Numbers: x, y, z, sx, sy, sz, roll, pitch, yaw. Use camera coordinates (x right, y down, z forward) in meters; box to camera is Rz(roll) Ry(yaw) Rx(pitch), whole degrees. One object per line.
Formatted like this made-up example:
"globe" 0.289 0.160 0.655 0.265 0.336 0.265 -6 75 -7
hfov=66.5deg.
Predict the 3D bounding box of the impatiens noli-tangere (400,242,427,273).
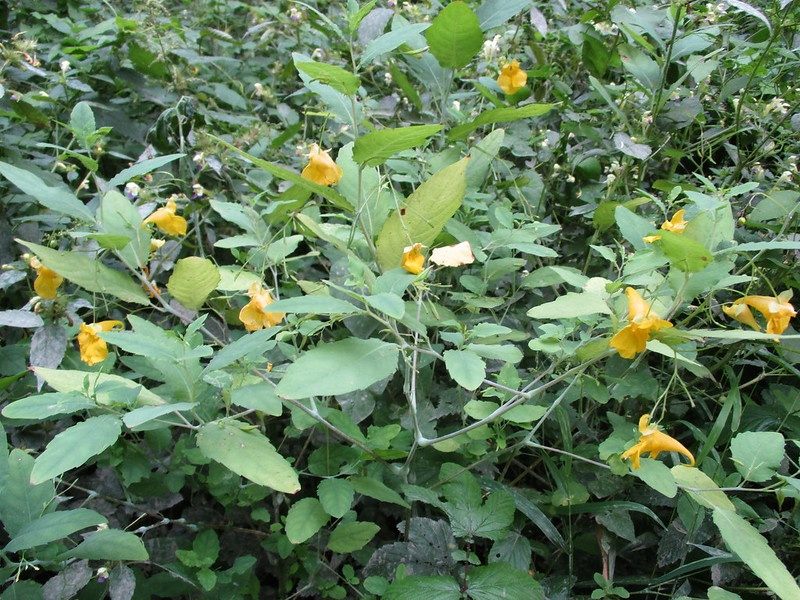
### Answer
"impatiens noli-tangere" 0.039 -0.119 1.796 0.113 0.074 0.082 -2 -1 -2

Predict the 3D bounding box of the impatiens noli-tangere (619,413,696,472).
"impatiens noli-tangere" 0.736 0.406 1.867 0.249 0.156 0.105 13 50 38

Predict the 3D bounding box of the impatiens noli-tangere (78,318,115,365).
"impatiens noli-tangere" -0.966 0.127 1.945 0.108 0.139 0.203 7 27 -22

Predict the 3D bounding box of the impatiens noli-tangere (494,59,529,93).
"impatiens noli-tangere" 0.448 -0.901 2.419 0.156 0.120 0.059 -6 -6 3

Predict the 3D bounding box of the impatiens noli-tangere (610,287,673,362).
"impatiens noli-tangere" 0.637 0.064 1.663 0.197 0.175 0.112 -1 8 -2
